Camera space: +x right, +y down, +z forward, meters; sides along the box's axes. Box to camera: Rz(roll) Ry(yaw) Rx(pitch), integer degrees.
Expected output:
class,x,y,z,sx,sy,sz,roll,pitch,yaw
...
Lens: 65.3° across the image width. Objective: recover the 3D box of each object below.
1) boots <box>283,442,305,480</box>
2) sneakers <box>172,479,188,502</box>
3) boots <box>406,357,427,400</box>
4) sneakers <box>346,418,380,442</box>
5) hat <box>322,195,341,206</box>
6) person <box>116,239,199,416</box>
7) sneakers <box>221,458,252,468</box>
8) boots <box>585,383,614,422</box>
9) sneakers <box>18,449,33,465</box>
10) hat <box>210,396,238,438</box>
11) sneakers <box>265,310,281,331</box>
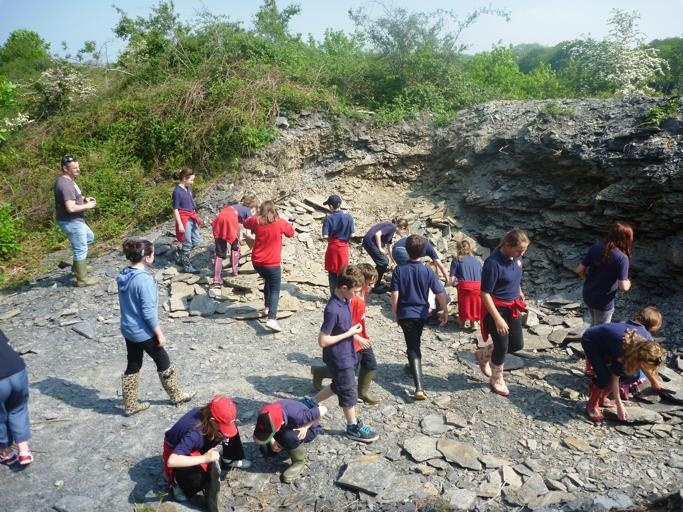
class,x,y,z,sx,sy,sz,roll,pitch,yaw
boots,-0.641,2.757,7.167,0.243,0.396,0.451,-5,5,26
sneakers,-2.098,3.056,6.856,0.241,0.273,0.111,-8,3,27
boots,1.174,1.915,8.281,0.272,0.293,0.722,-4,22,7
sneakers,0.289,2.502,7.657,0.486,0.212,0.239,4,9,5
hat,-0.197,-1.085,10.456,0.298,0.204,0.430,-12,18,-33
person,-2.782,1.062,7.745,0.832,2.597,0.547,-2,7,-19
sneakers,-1.410,2.820,7.207,0.413,0.148,0.137,1,20,-5
boots,3.907,2.188,8.060,0.378,0.576,0.218,-1,7,-16
sneakers,-4.205,2.685,7.093,0.125,0.104,0.269,0,-8,-21
hat,-1.485,2.048,6.697,0.322,0.522,0.200,-2,7,-18
sneakers,-1.249,1.263,9.874,0.209,0.178,0.421,14,-8,23
